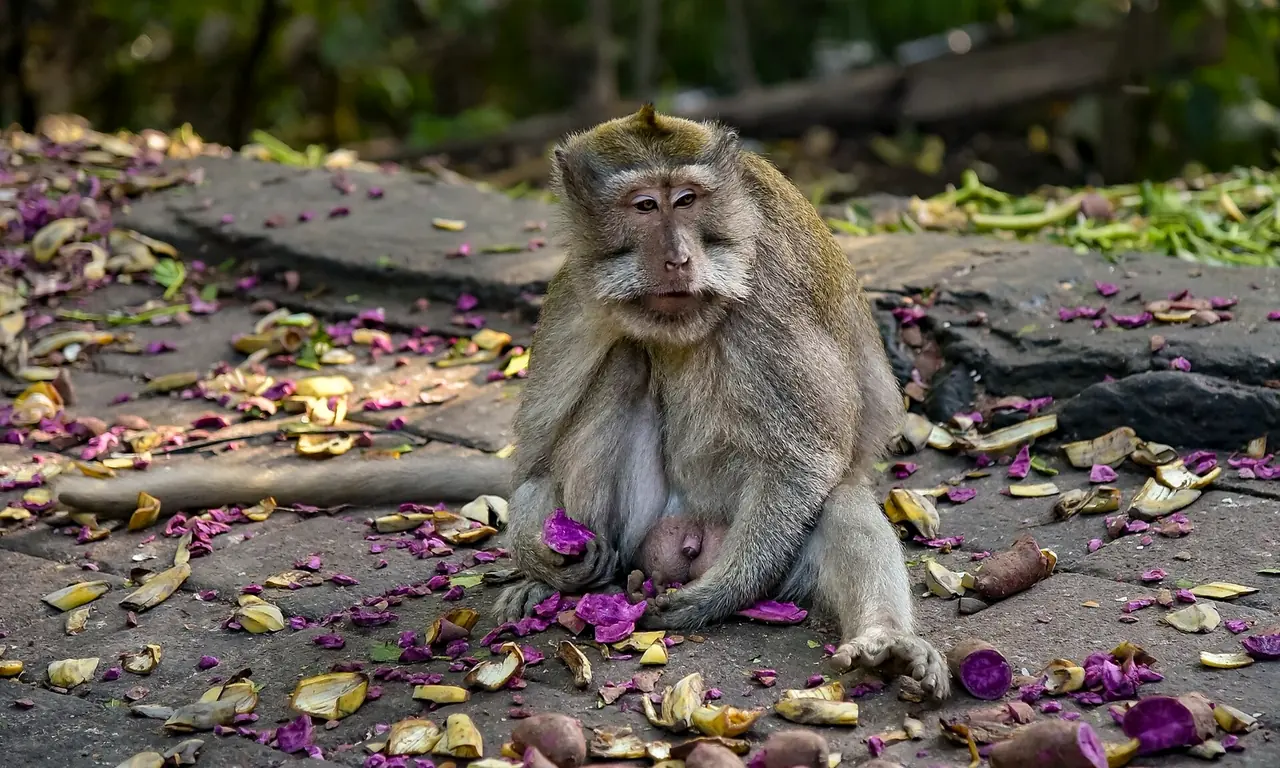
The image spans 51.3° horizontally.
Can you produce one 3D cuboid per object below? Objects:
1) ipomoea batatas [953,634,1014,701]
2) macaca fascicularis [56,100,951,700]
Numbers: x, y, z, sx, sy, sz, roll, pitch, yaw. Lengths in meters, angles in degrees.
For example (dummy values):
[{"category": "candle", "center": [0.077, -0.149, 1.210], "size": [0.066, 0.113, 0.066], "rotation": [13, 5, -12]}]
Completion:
[{"category": "ipomoea batatas", "center": [1.765, 1.483, 6.968], "size": [0.294, 0.268, 0.386], "rotation": [-13, -1, -3]}, {"category": "macaca fascicularis", "center": [0.373, -0.083, 7.368], "size": [2.276, 2.786, 1.412], "rotation": [4, 17, 11]}]
